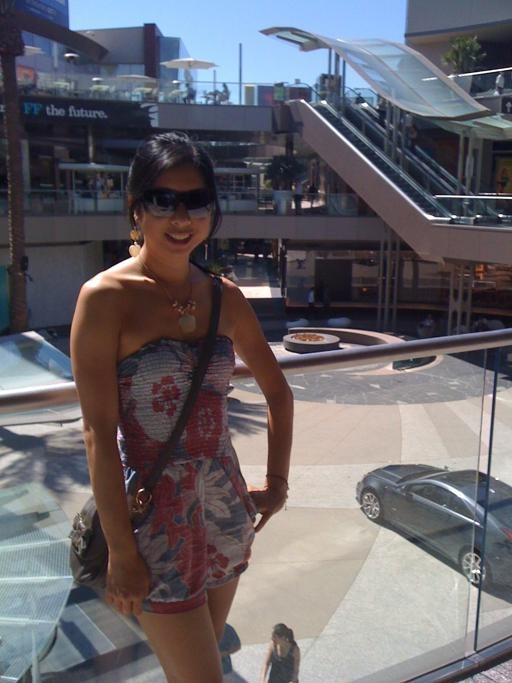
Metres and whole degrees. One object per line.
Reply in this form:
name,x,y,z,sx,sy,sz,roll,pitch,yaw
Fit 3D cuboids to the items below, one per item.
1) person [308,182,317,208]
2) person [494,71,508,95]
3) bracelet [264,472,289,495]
person,2.674,-6.776,28.955,0.495,1.086,1.675,-2,10,6
person,9.472,-9.948,23.901,0.408,0.881,0.225,1,12,18
bracelet,0.043,0.338,1.477,0.046,0.036,0.050,0,-25,3
